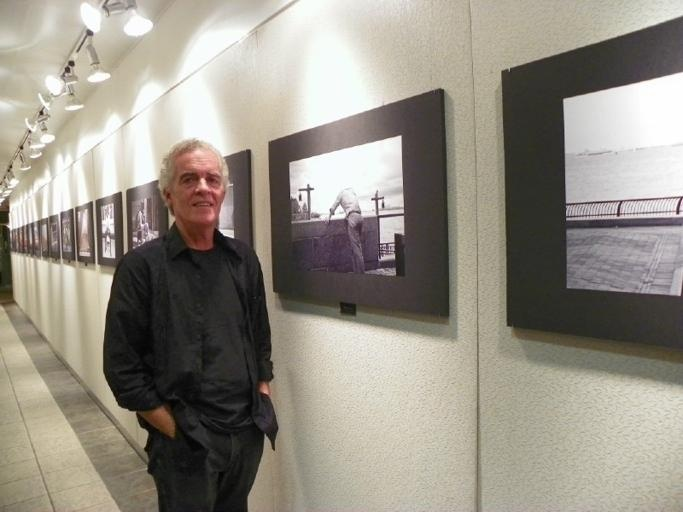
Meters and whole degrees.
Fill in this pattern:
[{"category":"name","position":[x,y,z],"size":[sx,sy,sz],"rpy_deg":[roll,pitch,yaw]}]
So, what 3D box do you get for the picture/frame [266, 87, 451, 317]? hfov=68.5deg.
[{"category":"picture/frame","position":[0.114,-0.281,2.554],"size":[1.291,1.114,0.057],"rpy_deg":[-1,1,39]}]
